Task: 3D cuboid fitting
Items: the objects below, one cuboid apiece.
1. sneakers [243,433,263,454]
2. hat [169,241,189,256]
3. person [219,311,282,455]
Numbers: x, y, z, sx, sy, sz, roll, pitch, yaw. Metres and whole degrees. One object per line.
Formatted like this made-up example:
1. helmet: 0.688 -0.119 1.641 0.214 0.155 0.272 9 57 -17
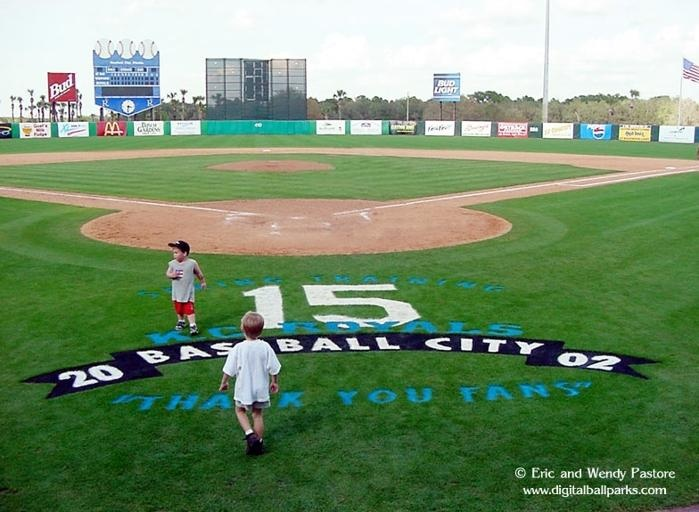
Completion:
1. sneakers: -1.130 2.187 6.544 0.206 0.254 0.236 -4 13 -9
2. hat: -3.357 -0.143 10.804 0.506 0.202 0.312 18 1 -22
3. person: -1.115 1.493 6.542 0.617 1.616 0.550 -8 16 -21
